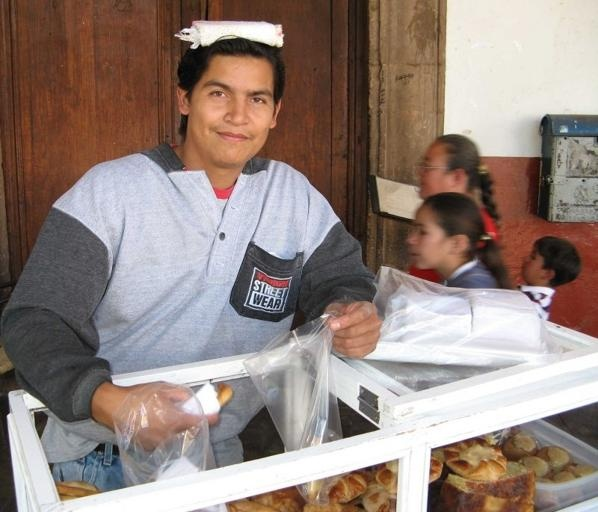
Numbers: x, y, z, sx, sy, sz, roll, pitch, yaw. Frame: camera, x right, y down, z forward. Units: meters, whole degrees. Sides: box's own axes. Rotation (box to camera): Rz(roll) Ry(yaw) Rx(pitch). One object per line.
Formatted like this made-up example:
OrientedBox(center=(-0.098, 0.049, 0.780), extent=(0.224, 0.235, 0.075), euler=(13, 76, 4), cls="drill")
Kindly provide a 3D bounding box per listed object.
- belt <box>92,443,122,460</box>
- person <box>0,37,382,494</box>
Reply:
OrientedBox(center=(-0.426, 0.430, 1.246), extent=(0.075, 0.030, 0.031), euler=(4, 11, 32), cls="belt")
OrientedBox(center=(-0.232, -0.105, 1.351), extent=(0.529, 0.841, 0.934), euler=(7, 13, 43), cls="person")
